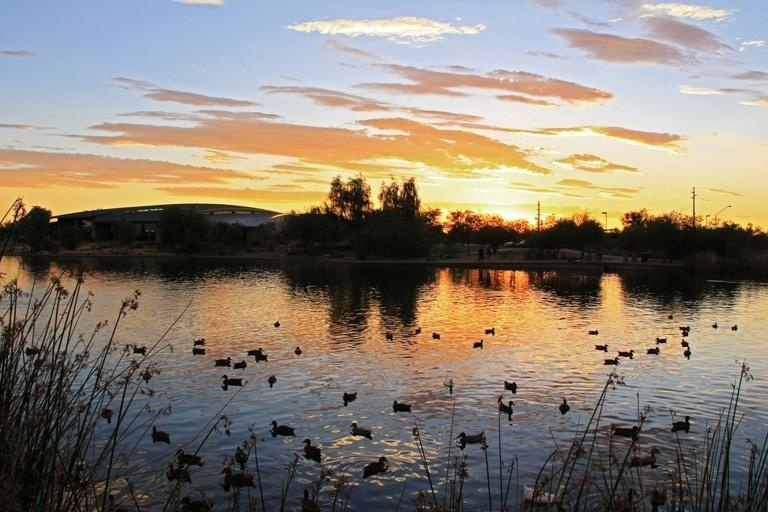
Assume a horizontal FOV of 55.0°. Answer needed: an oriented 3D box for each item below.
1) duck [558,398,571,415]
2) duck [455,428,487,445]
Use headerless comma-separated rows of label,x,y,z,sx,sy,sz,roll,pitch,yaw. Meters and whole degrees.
duck,5.336,4.440,21.866,0.271,0.278,0.483,4,14,22
duck,2.355,4.890,19.842,0.663,0.293,0.333,3,-6,7
